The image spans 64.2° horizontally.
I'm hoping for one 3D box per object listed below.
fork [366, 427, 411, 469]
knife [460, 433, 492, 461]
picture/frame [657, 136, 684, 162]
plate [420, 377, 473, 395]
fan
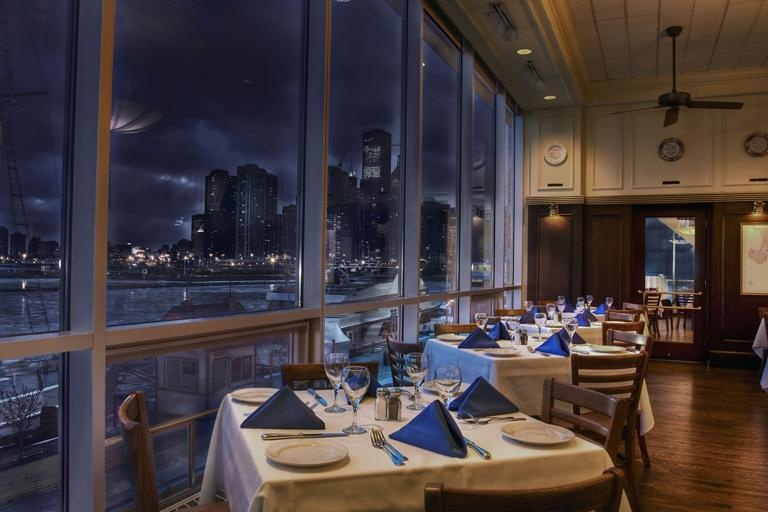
[{"bbox_3d":[0.013,0.963,3.156,0.073,0.071,0.381,-3,9,-18],"label":"fork"},{"bbox_3d":[0.485,0.982,3.148,0.052,0.028,0.307,-7,2,-9],"label":"knife"},{"bbox_3d":[4.261,-1.569,9.053,0.346,0.350,0.063,-4,-3,26],"label":"picture/frame"},{"bbox_3d":[0.374,0.788,3.711,0.292,0.052,0.306,-3,-2,22],"label":"plate"},{"bbox_3d":[3.470,-2.176,7.089,1.022,0.888,1.059,-3,-2,43],"label":"fan"}]
